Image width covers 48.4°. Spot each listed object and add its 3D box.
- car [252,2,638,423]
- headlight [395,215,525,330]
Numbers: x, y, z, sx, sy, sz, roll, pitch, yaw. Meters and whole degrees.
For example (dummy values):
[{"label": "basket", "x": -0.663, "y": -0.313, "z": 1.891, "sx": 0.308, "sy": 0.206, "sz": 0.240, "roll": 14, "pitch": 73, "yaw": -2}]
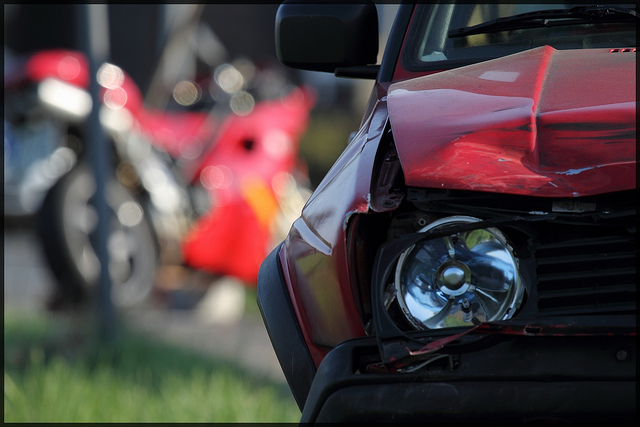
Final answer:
[{"label": "car", "x": 0.427, "y": -0.152, "z": 2.943, "sx": 1.227, "sy": 1.861, "sz": 1.115, "roll": -1, "pitch": 92, "yaw": 0}, {"label": "headlight", "x": 0.428, "y": 0.206, "z": 2.219, "sx": 0.394, "sy": 0.118, "sz": 0.270, "roll": -7, "pitch": 67, "yaw": 3}]
